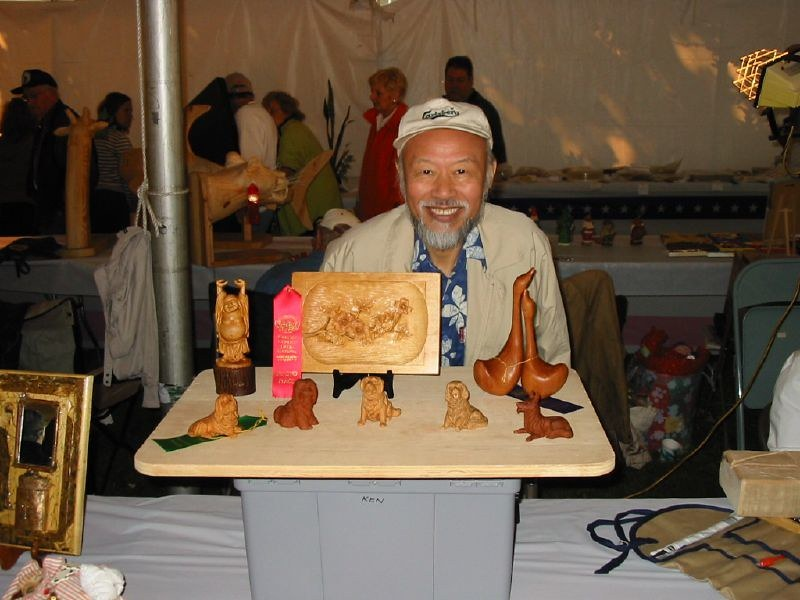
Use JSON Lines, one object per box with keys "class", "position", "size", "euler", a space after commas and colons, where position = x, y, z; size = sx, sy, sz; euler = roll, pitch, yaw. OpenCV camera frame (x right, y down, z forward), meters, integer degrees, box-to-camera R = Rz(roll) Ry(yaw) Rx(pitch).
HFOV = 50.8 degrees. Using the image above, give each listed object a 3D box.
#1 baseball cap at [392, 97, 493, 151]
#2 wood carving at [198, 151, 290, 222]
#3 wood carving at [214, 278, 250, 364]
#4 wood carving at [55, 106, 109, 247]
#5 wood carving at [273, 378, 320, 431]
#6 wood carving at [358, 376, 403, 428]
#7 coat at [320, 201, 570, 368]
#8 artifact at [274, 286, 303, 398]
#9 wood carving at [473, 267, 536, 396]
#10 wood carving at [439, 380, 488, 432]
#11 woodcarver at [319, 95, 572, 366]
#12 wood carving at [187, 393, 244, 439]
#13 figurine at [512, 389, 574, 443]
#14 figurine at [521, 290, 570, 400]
{"class": "baseball cap", "position": [0.172, -0.700, 3.256], "size": [0.372, 0.192, 0.392], "euler": [1, 13, 20]}
{"class": "wood carving", "position": [-1.050, -0.758, 5.666], "size": [0.596, 0.402, 0.298], "euler": [-3, -14, -19]}
{"class": "wood carving", "position": [-0.597, 0.083, 2.991], "size": [0.111, 0.304, 0.100], "euler": [0, 3, -7]}
{"class": "wood carving", "position": [-2.058, -0.727, 5.436], "size": [0.276, 0.875, 0.907], "euler": [-1, 3, -22]}
{"class": "wood carving", "position": [-0.364, 0.352, 2.928], "size": [0.164, 0.172, 0.121], "euler": [1, 2, 28]}
{"class": "wood carving", "position": [-0.078, 0.336, 2.935], "size": [0.119, 0.177, 0.181], "euler": [8, 14, 35]}
{"class": "coat", "position": [0.231, -0.311, 3.614], "size": [1.153, 0.979, 0.619], "euler": [0, 14, 6]}
{"class": "artifact", "position": [-0.403, 0.149, 3.012], "size": [0.105, 0.410, 0.031], "euler": [0, -20, -5]}
{"class": "wood carving", "position": [0.377, 0.124, 3.039], "size": [0.215, 0.483, 0.190], "euler": [4, 16, 15]}
{"class": "wood carving", "position": [0.228, 0.355, 2.903], "size": [0.164, 0.172, 0.151], "euler": [2, 11, 15]}
{"class": "woodcarver", "position": [0.172, -0.212, 3.552], "size": [1.103, 1.129, 0.609], "euler": [0, 12, 9]}
{"class": "wood carving", "position": [-0.619, 0.392, 2.838], "size": [0.161, 0.124, 0.124], "euler": [-4, 11, -5]}
{"class": "figurine", "position": [0.477, 0.396, 2.868], "size": [0.177, 0.142, 0.178], "euler": [-1, 3, -29]}
{"class": "figurine", "position": [0.509, 0.155, 3.017], "size": [0.180, 0.389, 0.161], "euler": [-4, 13, 18]}
